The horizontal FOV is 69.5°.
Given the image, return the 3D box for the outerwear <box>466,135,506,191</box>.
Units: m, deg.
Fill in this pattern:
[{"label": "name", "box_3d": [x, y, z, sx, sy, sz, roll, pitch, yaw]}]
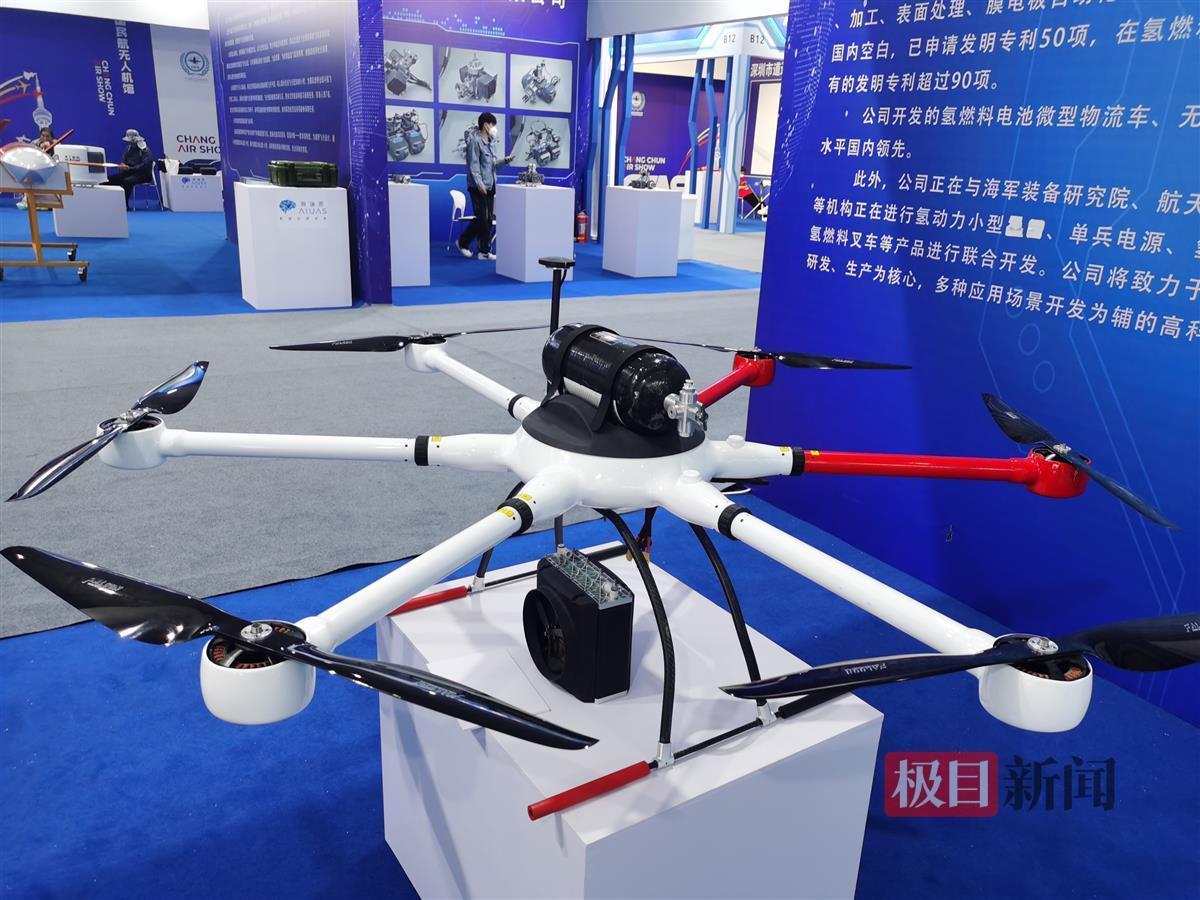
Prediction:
[{"label": "outerwear", "box_3d": [-1.597, -3.958, 11.862, 0.371, 0.759, 0.316, 0, 22, -8]}]
